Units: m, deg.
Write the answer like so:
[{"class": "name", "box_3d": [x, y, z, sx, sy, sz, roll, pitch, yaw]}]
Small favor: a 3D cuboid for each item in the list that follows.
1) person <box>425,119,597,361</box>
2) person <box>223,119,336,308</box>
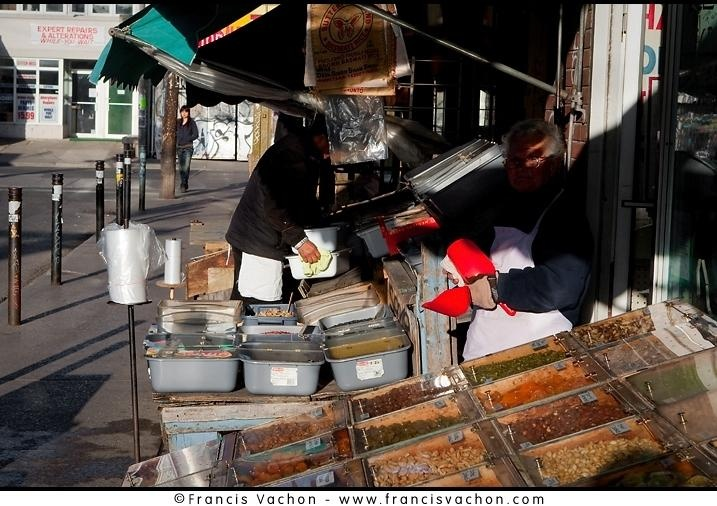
[{"class": "person", "box_3d": [0.975, -0.003, 3.806, 0.800, 1.558, 0.529, 8, 15, 18]}, {"class": "person", "box_3d": [-0.744, -0.350, 5.662, 0.897, 1.696, 0.677, 2, 14, -5]}]
